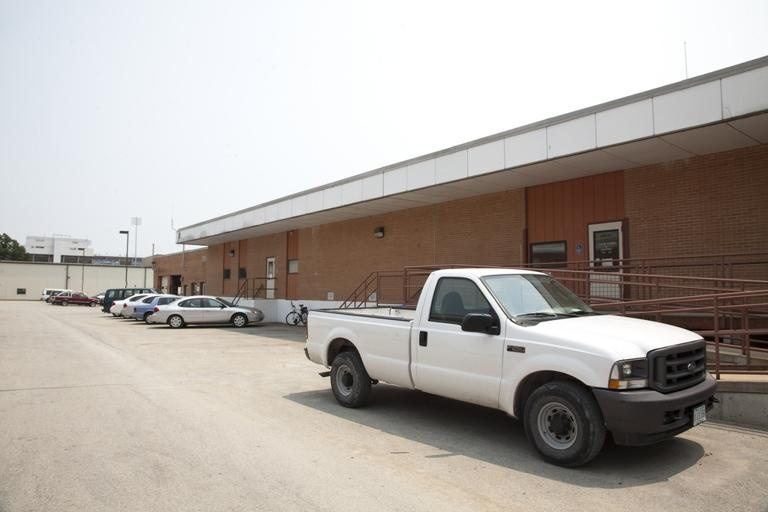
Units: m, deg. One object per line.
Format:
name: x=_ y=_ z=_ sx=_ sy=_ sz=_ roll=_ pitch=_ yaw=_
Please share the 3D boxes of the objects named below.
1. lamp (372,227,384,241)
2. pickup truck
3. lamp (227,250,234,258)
lamp: x=-0.350 y=-1.112 z=23.548 sx=0.302 sy=0.586 sz=0.700 roll=-2 pitch=4 yaw=-39
pickup truck: x=1.649 y=1.602 z=8.835 sx=7.005 sy=2.797 sz=2.416 roll=3 pitch=4 yaw=40
lamp: x=-11.539 y=-0.164 z=36.625 sx=0.454 sy=0.861 sz=0.464 roll=3 pitch=-8 yaw=-19
